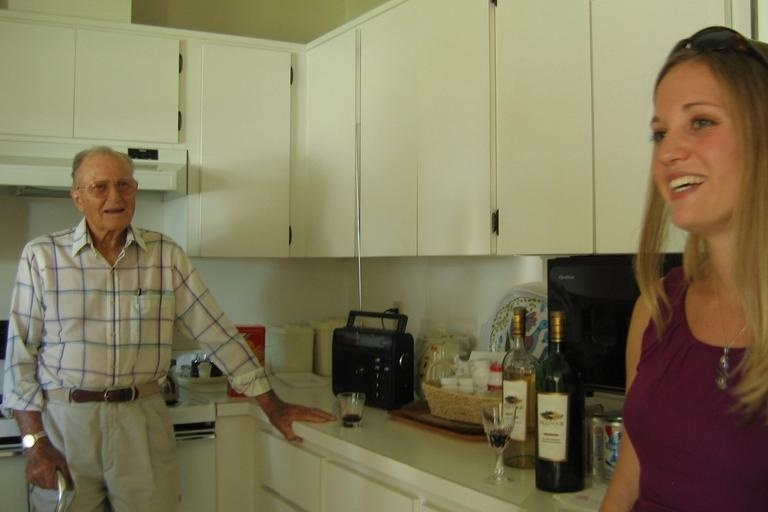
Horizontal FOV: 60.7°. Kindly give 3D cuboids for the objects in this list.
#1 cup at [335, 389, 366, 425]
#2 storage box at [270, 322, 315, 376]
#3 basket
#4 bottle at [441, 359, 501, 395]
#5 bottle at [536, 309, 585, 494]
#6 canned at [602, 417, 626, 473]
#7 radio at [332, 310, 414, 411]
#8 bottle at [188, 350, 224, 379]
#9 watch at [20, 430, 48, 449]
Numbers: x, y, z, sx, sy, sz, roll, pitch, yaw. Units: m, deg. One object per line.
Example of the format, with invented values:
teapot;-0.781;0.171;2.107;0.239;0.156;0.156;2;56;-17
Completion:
cup;-0.122;0.575;2.441;0.117;0.112;0.113;2;-10;0
storage box;-0.476;0.477;3.406;0.255;0.246;0.096;-1;-5;16
basket;0.307;0.526;2.386;0.319;0.103;0.251;5;1;31
bottle;0.317;0.427;2.358;0.154;0.066;0.113;1;-1;-25
bottle;0.470;0.403;1.813;0.165;0.493;0.089;-10;8;3
canned;0.665;0.566;1.918;0.050;0.119;0.045;4;-3;29
radio;-0.048;0.415;2.730;0.148;0.386;0.406;2;-2;-41
bottle;-0.881;0.507;3.253;0.214;0.153;0.177;-7;-9;44
watch;-1.223;0.630;2.278;0.085;0.050;0.077;-1;-15;-15
